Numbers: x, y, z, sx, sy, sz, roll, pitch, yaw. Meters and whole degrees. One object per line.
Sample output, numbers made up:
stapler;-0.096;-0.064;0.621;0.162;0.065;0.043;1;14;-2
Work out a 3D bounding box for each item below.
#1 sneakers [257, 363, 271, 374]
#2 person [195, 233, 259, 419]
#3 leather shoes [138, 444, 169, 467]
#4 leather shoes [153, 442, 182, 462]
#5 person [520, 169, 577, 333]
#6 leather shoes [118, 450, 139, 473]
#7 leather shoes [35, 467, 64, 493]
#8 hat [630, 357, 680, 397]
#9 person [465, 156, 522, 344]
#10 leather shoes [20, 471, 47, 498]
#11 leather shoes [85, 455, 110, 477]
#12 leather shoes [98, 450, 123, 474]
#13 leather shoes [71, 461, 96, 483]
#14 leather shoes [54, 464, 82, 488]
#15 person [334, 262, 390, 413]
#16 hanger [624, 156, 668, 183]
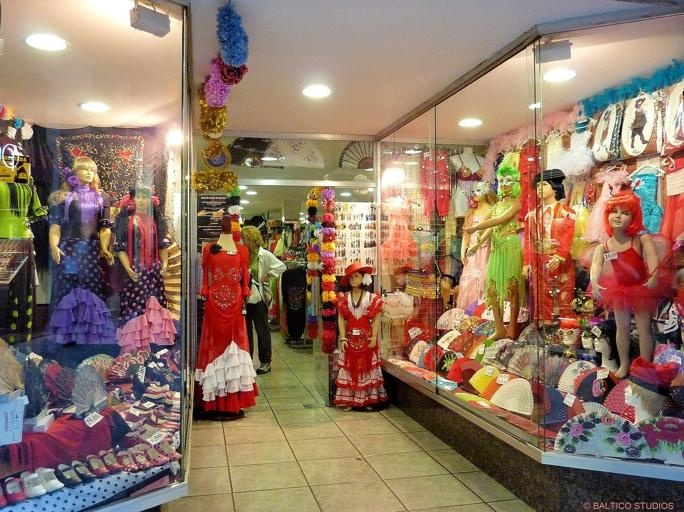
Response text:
sneakers;-0.935;1.347;6.180;0.065;0.143;0.197;-3;-16;22
person;-1.044;0.646;4.577;0.549;1.523;0.275;-2;5;-15
leather shoes;-0.980;1.026;2.693;0.158;0.065;0.064;6;-5;32
leather shoes;-0.934;1.044;2.768;0.151;0.069;0.054;28;2;20
person;1.243;-0.057;3.065;0.252;0.916;0.124;1;5;25
leather shoes;-1.068;1.018;2.587;0.051;0.057;0.140;14;-3;-38
leather shoes;-1.360;1.009;2.411;0.148;0.063;0.053;44;9;17
hat;1.758;0.669;2.938;0.167;0.139;0.219;17;-1;-5
person;1.064;-0.061;3.576;0.131;1.266;0.578;-2;5;-7
leather shoes;-1.403;1.035;2.348;0.123;0.053;0.068;42;17;21
leather shoes;-1.182;1.002;2.511;0.144;0.065;0.052;16;7;42
leather shoes;-1.137;1.004;2.536;0.153;0.069;0.056;0;-9;43
leather shoes;-1.229;1.019;2.470;0.146;0.057;0.052;38;11;26
leather shoes;-1.285;1.027;2.430;0.132;0.053;0.064;37;13;19
person;0.158;0.749;4.855;0.508;1.344;0.306;-1;4;4
hanger;1.739;-0.508;2.960;0.182;0.125;0.035;-1;4;6
